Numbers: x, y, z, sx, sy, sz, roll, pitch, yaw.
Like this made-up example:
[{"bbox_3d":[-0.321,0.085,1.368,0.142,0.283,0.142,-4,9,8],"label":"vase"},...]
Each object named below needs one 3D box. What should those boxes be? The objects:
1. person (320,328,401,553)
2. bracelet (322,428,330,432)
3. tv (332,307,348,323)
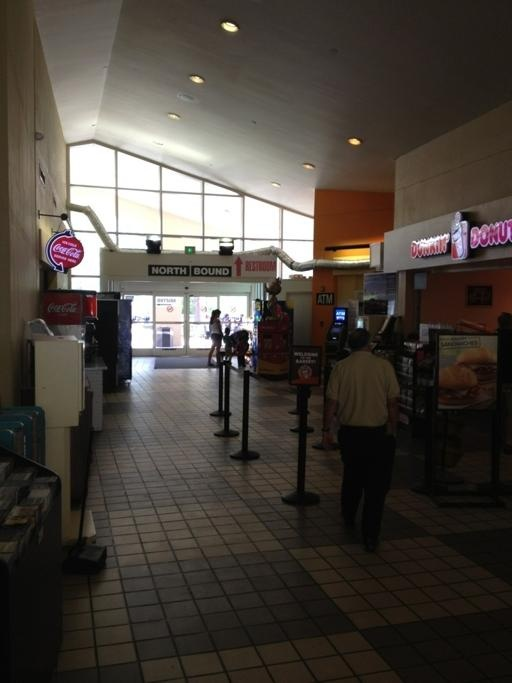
[{"bbox_3d":[0.702,0.623,3.670,0.462,1.418,0.366,1,2,18],"label":"person"},{"bbox_3d":[0.496,0.622,3.892,0.038,0.030,0.052,-2,-1,4],"label":"bracelet"},{"bbox_3d":[1.949,-0.618,12.632,0.339,0.343,0.499,0,-4,10],"label":"tv"}]
